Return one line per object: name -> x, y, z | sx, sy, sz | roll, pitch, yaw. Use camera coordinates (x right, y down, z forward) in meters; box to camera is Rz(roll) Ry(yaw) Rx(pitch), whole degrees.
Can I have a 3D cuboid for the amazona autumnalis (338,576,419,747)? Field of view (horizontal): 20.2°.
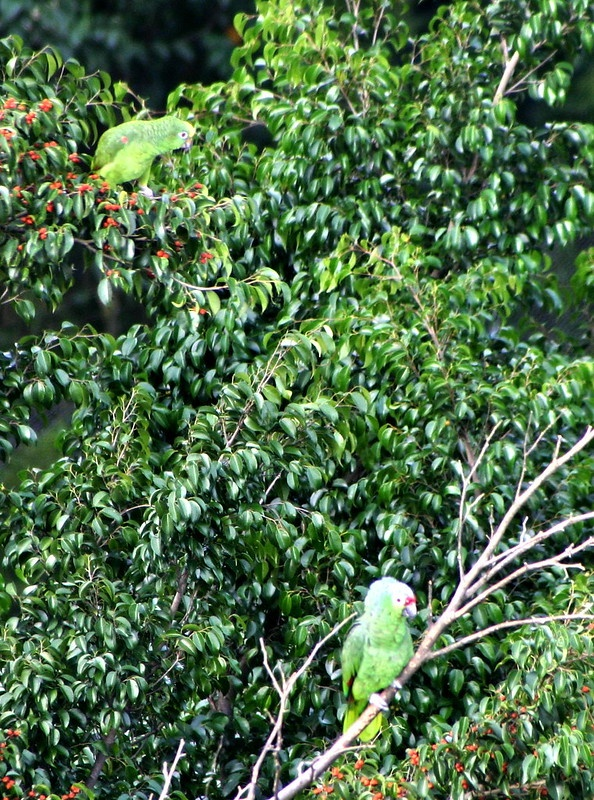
amazona autumnalis -> 0.253, 0.825, 5.152 | 0.323, 0.514, 0.192 | -17, 38, 1
